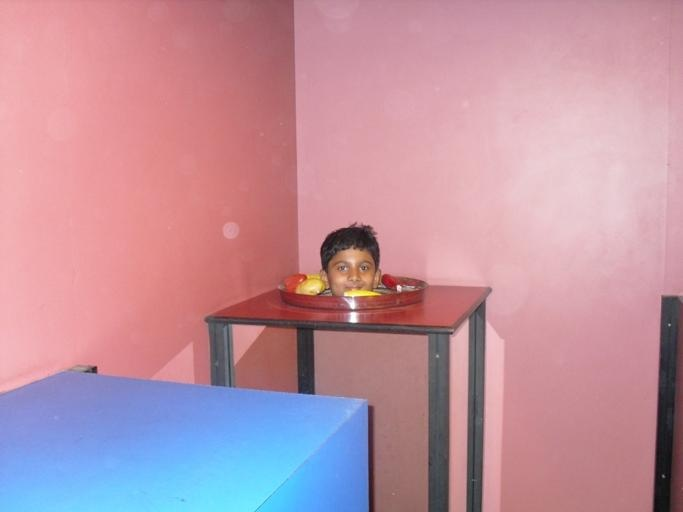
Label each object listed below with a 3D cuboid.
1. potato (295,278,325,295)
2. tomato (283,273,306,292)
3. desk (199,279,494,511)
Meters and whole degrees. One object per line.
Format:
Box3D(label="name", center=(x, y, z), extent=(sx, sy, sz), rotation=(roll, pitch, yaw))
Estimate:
Box3D(label="potato", center=(-0.080, 0.077, 1.544), extent=(0.061, 0.033, 0.035), rotation=(-7, -18, -23))
Box3D(label="tomato", center=(-0.123, 0.065, 1.608), extent=(0.039, 0.029, 0.052), rotation=(28, 42, 35))
Box3D(label="desk", center=(0.065, 0.423, 1.648), extent=(0.633, 0.666, 0.662), rotation=(4, 5, 14))
